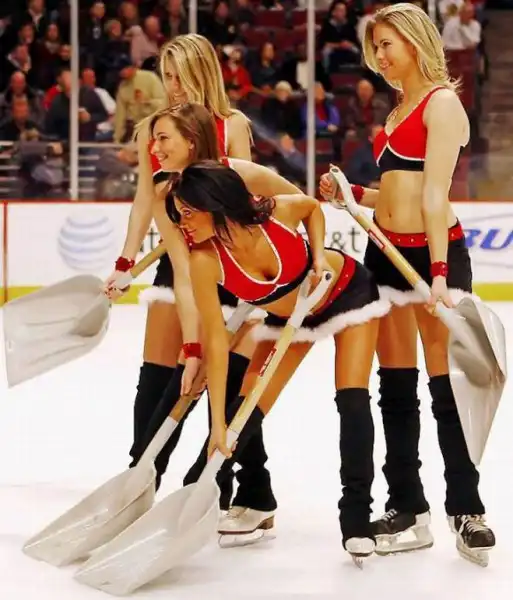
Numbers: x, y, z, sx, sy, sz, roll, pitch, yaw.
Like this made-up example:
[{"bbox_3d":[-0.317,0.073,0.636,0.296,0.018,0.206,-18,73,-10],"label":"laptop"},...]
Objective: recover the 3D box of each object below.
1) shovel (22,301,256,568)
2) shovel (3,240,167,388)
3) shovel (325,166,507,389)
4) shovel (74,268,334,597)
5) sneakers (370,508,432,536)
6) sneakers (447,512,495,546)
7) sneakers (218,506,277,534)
[{"bbox_3d":[-0.154,0.426,2.564,1.262,0.191,0.380,-45,16,-24],"label":"shovel"},{"bbox_3d":[-0.756,0.093,2.871,0.910,0.333,0.285,-27,-24,28],"label":"shovel"},{"bbox_3d":[0.517,-0.086,2.316,0.228,0.709,0.683,-3,4,-30],"label":"shovel"},{"bbox_3d":[-0.177,0.483,2.585,0.243,0.238,1.281,8,52,44],"label":"shovel"},{"bbox_3d":[0.467,0.733,2.465,0.238,0.075,0.074,0,-15,-20],"label":"sneakers"},{"bbox_3d":[0.668,0.708,2.287,0.078,0.074,0.175,-1,3,-3],"label":"sneakers"},{"bbox_3d":[-0.036,0.716,2.453,0.226,0.087,0.079,5,-6,-34],"label":"sneakers"}]
